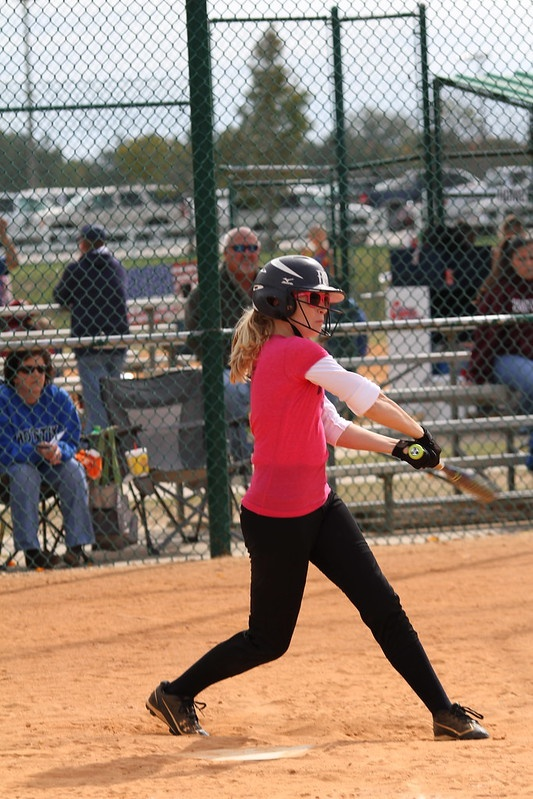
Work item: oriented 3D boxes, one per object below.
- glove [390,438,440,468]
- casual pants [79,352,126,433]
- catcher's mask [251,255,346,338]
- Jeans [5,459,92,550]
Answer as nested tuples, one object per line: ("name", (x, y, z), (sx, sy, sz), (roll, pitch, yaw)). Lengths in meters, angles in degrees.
("glove", (0.457, 0.167, 2.862), (0.140, 0.056, 0.091), (13, -13, 2))
("casual pants", (-1.094, -0.061, 6.067), (0.438, 0.463, 0.158), (-2, 10, -35))
("catcher's mask", (0.089, -0.327, 2.949), (0.315, 0.246, 0.219), (3, -2, 6))
("Jeans", (-1.167, 0.576, 5.112), (0.459, 0.492, 0.259), (-1, 3, -23))
